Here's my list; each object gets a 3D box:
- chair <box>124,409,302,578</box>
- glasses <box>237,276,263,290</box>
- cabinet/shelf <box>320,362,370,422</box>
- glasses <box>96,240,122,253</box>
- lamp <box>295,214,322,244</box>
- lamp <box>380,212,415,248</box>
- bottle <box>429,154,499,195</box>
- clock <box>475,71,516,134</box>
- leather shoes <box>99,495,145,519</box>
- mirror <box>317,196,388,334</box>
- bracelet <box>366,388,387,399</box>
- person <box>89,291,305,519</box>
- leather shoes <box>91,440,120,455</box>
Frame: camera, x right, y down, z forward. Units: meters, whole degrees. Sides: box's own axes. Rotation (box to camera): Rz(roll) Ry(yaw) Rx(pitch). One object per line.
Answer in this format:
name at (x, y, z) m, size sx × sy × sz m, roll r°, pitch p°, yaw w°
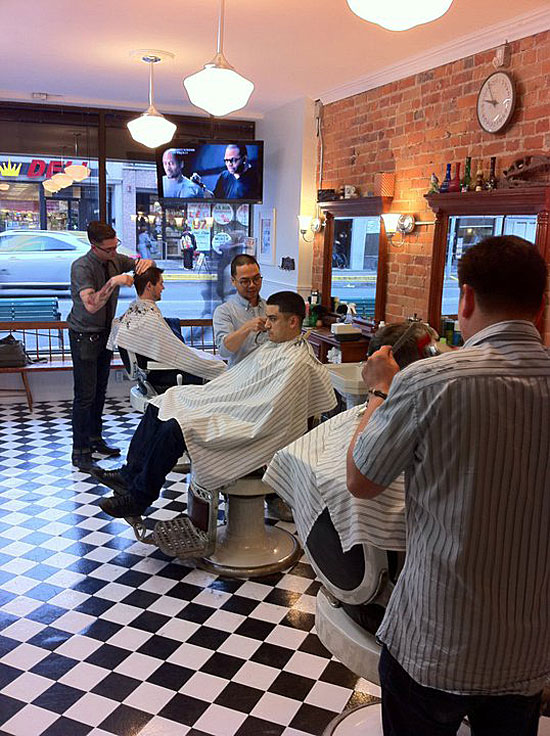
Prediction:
chair at (-0.268, 0.588, 2.504) m, size 0.648 × 0.558 × 0.469 m, roll 3°, pitch 5°, yaw -19°
glasses at (-0.120, -0.422, 2.748) m, size 0.076 × 0.024 × 0.076 m, roll -7°, pitch 32°, yaw -3°
cabinet/shelf at (0.382, 0.166, 2.979) m, size 0.270 × 0.181 × 0.391 m, roll -2°, pitch 10°, yaw -9°
glasses at (-1.017, -0.756, 3.466) m, size 0.108 × 0.095 × 0.197 m, roll 6°, pitch 10°, yaw 22°
lamp at (0.291, -1.200, 4.799) m, size 0.161 × 0.242 × 0.240 m, roll 6°, pitch 6°, yaw 44°
lamp at (0.812, -0.944, 3.696) m, size 0.204 × 0.212 × 0.140 m, roll -4°, pitch 11°, yaw -41°
bottle at (0.983, -1.044, 3.073) m, size 0.131 × 0.220 × 0.514 m, roll -7°, pitch 8°, yaw -27°
clock at (1.130, -1.362, 2.878) m, size 0.055 × 0.304 × 0.283 m, roll 0°, pitch 9°, yaw -16°
leather shoes at (-0.621, 0.586, 2.346) m, size 0.207 × 0.078 × 0.090 m, roll 13°, pitch -29°, yaw -32°
mirror at (0.593, -0.790, 4.230) m, size 0.172 × 1.111 × 1.236 m, roll -3°, pitch 11°, yaw -16°
bracelet at (0.169, 0.042, 0.927) m, size 0.017 × 0.005 × 0.017 m, roll 11°, pitch 8°, yaw -35°
person at (-0.383, 0.159, 2.311) m, size 0.891 × 0.969 × 0.402 m, roll 6°, pitch 10°, yaw 20°
leather shoes at (-1.109, 0.519, 3.710) m, size 0.237 × 0.093 × 0.078 m, roll 5°, pitch 11°, yaw 20°
